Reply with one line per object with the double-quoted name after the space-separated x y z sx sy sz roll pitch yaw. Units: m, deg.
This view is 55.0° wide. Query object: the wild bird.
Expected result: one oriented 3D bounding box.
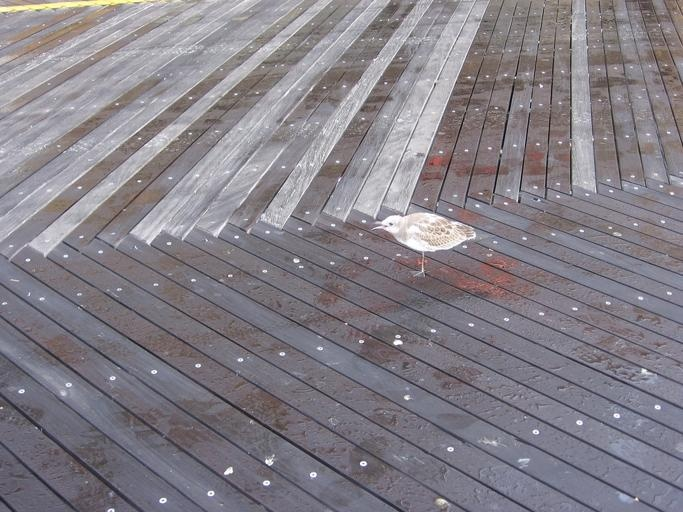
0.422 -0.089 3.459 0.579 0.206 0.190 3 29 -12 "wild bird"
